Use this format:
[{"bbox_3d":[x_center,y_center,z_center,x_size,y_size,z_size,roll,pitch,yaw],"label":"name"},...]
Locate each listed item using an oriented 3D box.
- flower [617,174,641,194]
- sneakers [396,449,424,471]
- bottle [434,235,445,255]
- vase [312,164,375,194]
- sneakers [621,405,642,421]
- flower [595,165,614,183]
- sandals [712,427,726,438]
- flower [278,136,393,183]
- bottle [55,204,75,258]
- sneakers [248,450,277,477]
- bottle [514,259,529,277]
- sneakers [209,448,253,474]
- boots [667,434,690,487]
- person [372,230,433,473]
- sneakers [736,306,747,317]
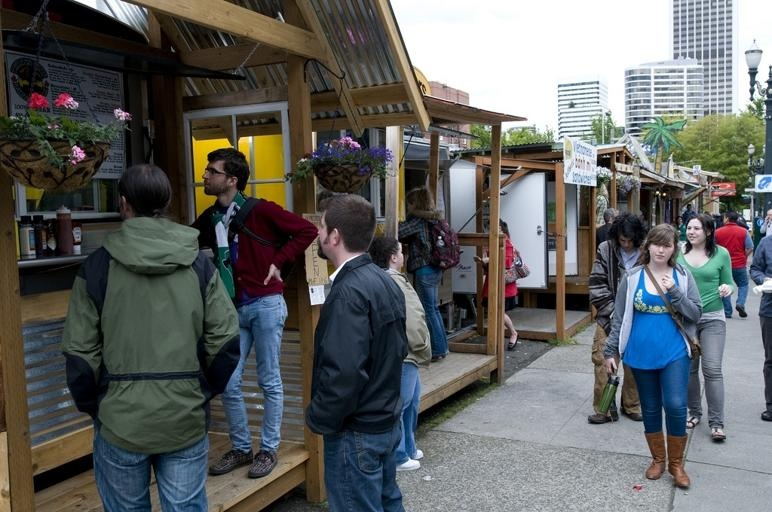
[{"bbox_3d":[6.300,-2.000,15.249,0.334,0.669,0.507,7,-26,28],"label":"flower"},{"bbox_3d":[0.239,1.936,5.568,0.093,0.127,0.290,-5,-12,17],"label":"sneakers"},{"bbox_3d":[0.670,-0.161,7.393,0.173,0.143,0.256,5,8,3],"label":"bottle"},{"bbox_3d":[-0.363,-0.652,4.947,0.481,0.228,0.255,-2,6,-9],"label":"vase"},{"bbox_3d":[2.779,1.773,6.652,0.079,0.101,0.231,-2,1,-24],"label":"sneakers"},{"bbox_3d":[5.024,-1.864,13.590,0.278,0.380,0.733,3,7,34],"label":"flower"},{"bbox_3d":[3.391,1.804,5.993,0.073,0.084,0.197,-4,-14,15],"label":"sandals"},{"bbox_3d":[-0.452,-0.817,5.109,0.802,0.375,0.956,3,9,31],"label":"flower"},{"bbox_3d":[-2.589,-0.215,4.735,0.110,0.385,0.116,1,10,0],"label":"bottle"},{"bbox_3d":[-0.947,1.588,4.546,0.100,0.121,0.278,2,-3,16],"label":"sneakers"},{"bbox_3d":[2.293,0.204,10.019,0.148,0.228,0.236,-33,16,10],"label":"bottle"},{"bbox_3d":[-1.210,1.584,4.600,0.119,0.132,0.322,-5,-3,45],"label":"sneakers"},{"bbox_3d":[2.569,1.767,5.128,0.167,0.437,0.213,-3,6,-24],"label":"boots"},{"bbox_3d":[0.154,0.850,5.212,0.570,2.031,0.634,-5,9,6],"label":"person"},{"bbox_3d":[7.605,1.180,12.593,0.080,0.218,0.091,-47,-32,23],"label":"sneakers"}]
